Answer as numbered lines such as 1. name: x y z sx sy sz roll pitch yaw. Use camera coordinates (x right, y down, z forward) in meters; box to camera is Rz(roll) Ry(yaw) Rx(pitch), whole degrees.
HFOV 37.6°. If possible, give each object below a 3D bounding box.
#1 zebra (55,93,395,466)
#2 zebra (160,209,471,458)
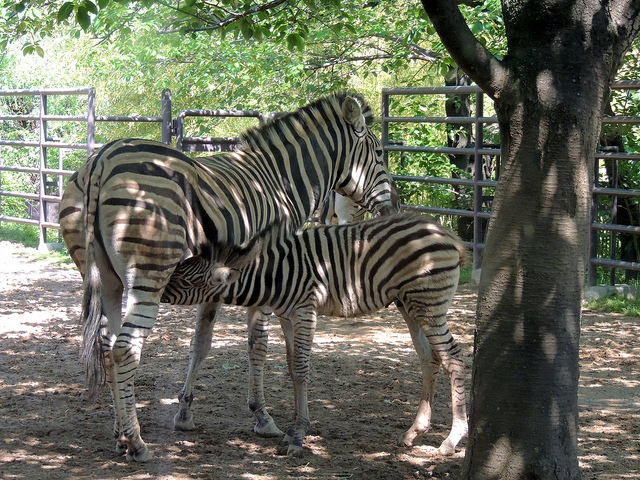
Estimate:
1. zebra: -0.798 0.171 8.220 3.750 3.122 1.217 0 0 -43
2. zebra: -0.144 0.770 7.837 2.800 1.813 0.707 3 -5 -1
